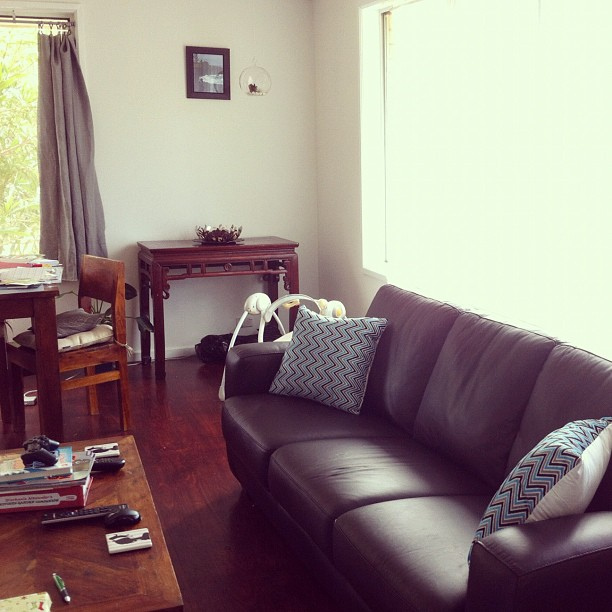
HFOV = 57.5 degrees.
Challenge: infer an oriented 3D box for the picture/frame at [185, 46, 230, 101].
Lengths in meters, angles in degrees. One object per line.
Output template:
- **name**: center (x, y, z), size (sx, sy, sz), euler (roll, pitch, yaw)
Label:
- **picture/frame**: center (-0.765, -1.798, 4.269), size (0.363, 0.420, 0.029), euler (-2, 7, -25)

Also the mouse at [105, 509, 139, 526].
- **mouse**: center (-0.458, 0.536, 1.401), size (0.066, 0.026, 0.040), euler (-7, 20, -6)

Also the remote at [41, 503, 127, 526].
- **remote**: center (-0.583, 0.540, 1.440), size (0.131, 0.023, 0.079), euler (-3, 2, -13)

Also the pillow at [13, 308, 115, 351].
- **pillow**: center (-1.229, 0.139, 2.942), size (0.305, 0.115, 0.280), euler (-16, 20, -33)

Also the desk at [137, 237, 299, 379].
- **desk**: center (-0.647, 0.033, 4.374), size (1.087, 1.096, 0.626), euler (-3, 9, -24)

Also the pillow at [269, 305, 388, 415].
- **pillow**: center (0.061, 0.209, 2.369), size (0.488, 0.555, 0.136), euler (-7, -24, 33)
